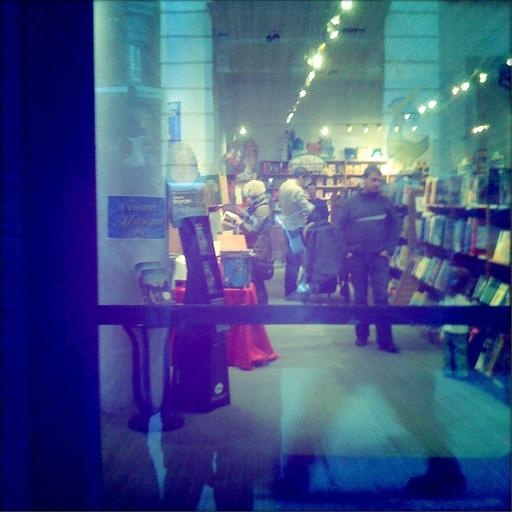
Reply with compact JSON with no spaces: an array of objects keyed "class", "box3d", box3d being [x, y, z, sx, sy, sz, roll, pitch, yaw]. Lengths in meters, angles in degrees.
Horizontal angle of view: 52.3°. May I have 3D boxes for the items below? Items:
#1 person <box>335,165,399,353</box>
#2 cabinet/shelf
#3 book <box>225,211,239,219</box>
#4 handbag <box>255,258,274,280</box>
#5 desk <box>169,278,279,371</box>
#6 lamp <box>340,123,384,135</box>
[{"class":"person","box3d":[0.884,-0.088,4.150,0.463,1.243,0.282,4,9,16]},{"class":"cabinet/shelf","box3d":[1.060,0.156,4.182,0.440,0.917,1.503,18,6,-41]},{"class":"book","box3d":[-0.222,-0.367,4.638,0.120,0.057,0.165,1,11,-3]},{"class":"handbag","box3d":[0.069,0.109,4.469,0.158,0.185,0.171,1,3,20]},{"class":"desk","box3d":[-0.222,0.473,3.749,0.587,0.729,0.623,-2,-4,9]},{"class":"lamp","box3d":[2.064,-2.445,9.987,0.779,0.212,0.210,1,10,-2]}]
